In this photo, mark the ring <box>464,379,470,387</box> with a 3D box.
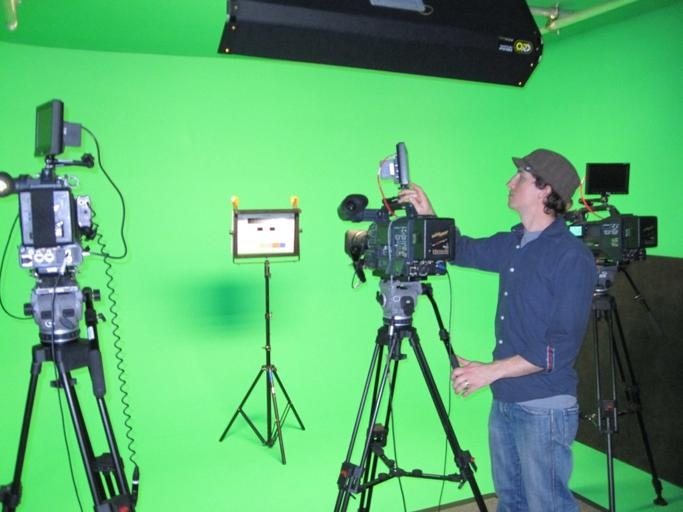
[{"bbox_3d":[0.706,0.721,4.004,0.026,0.033,0.014,0,5,5],"label":"ring"}]

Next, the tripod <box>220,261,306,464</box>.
[{"bbox_3d":[-0.619,0.809,5.433,0.558,1.545,0.364,1,5,21],"label":"tripod"}]
